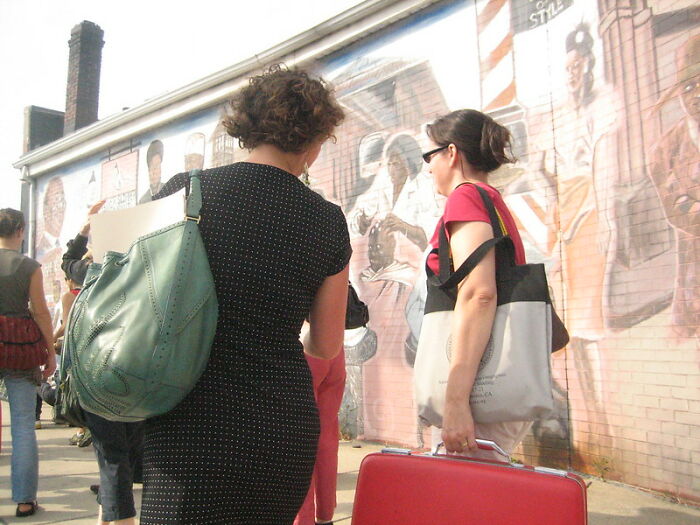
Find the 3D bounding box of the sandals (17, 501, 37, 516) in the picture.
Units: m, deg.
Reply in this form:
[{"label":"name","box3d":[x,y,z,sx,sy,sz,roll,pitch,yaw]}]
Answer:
[{"label":"sandals","box3d":[-2.479,1.873,5.458,0.162,0.104,0.099,0,-13,-35]}]

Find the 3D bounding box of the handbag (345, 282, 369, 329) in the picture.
[{"label":"handbag","box3d":[0.035,0.292,5.045,0.176,0.328,0.266,-4,9,11]}]

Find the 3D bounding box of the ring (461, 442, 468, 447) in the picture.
[{"label":"ring","box3d":[0.570,0.904,3.566,0.023,0.018,0.023,-1,-9,0]}]

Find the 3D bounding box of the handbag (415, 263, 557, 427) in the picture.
[{"label":"handbag","box3d":[0.689,0.425,3.628,0.772,0.828,0.317,-1,-8,28]}]

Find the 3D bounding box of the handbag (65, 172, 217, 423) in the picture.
[{"label":"handbag","box3d":[-1.070,0.249,3.679,0.498,1.125,0.929,21,-25,-37]}]
